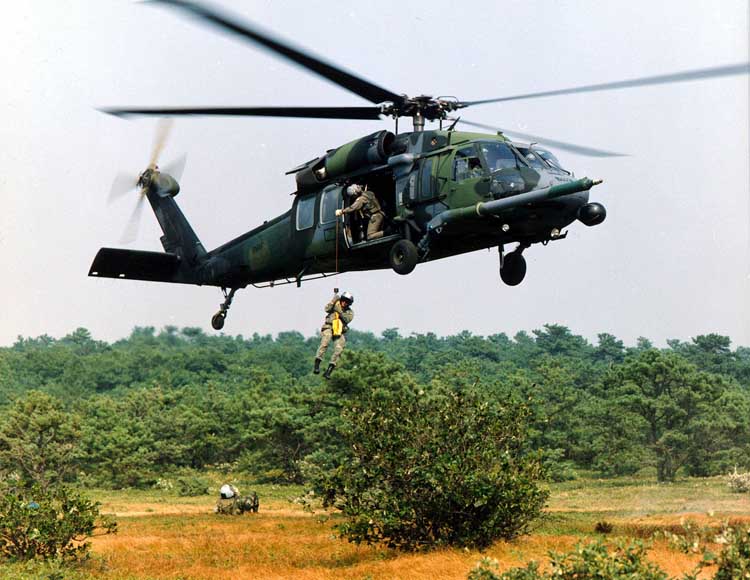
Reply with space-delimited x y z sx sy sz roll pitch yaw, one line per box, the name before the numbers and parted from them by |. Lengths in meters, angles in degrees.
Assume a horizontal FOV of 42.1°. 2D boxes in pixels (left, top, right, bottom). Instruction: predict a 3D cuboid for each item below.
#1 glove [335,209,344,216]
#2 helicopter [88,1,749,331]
glove | -1.031 -2.194 27.730 0.175 0.100 0.257 -6 3 -9
helicopter | -0.455 -2.356 28.435 12.019 4.653 10.532 -7 -5 43
